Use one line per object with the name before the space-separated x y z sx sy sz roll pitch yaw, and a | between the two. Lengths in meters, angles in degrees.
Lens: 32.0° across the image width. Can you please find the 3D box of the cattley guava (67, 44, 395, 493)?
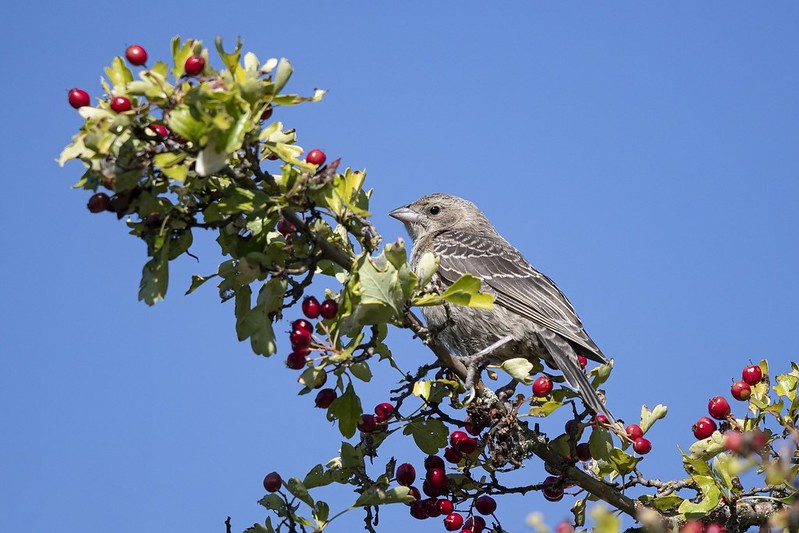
cattley guava | -0.971 -0.377 8.490 1.276 1.295 2.542 -34 -78 -6
